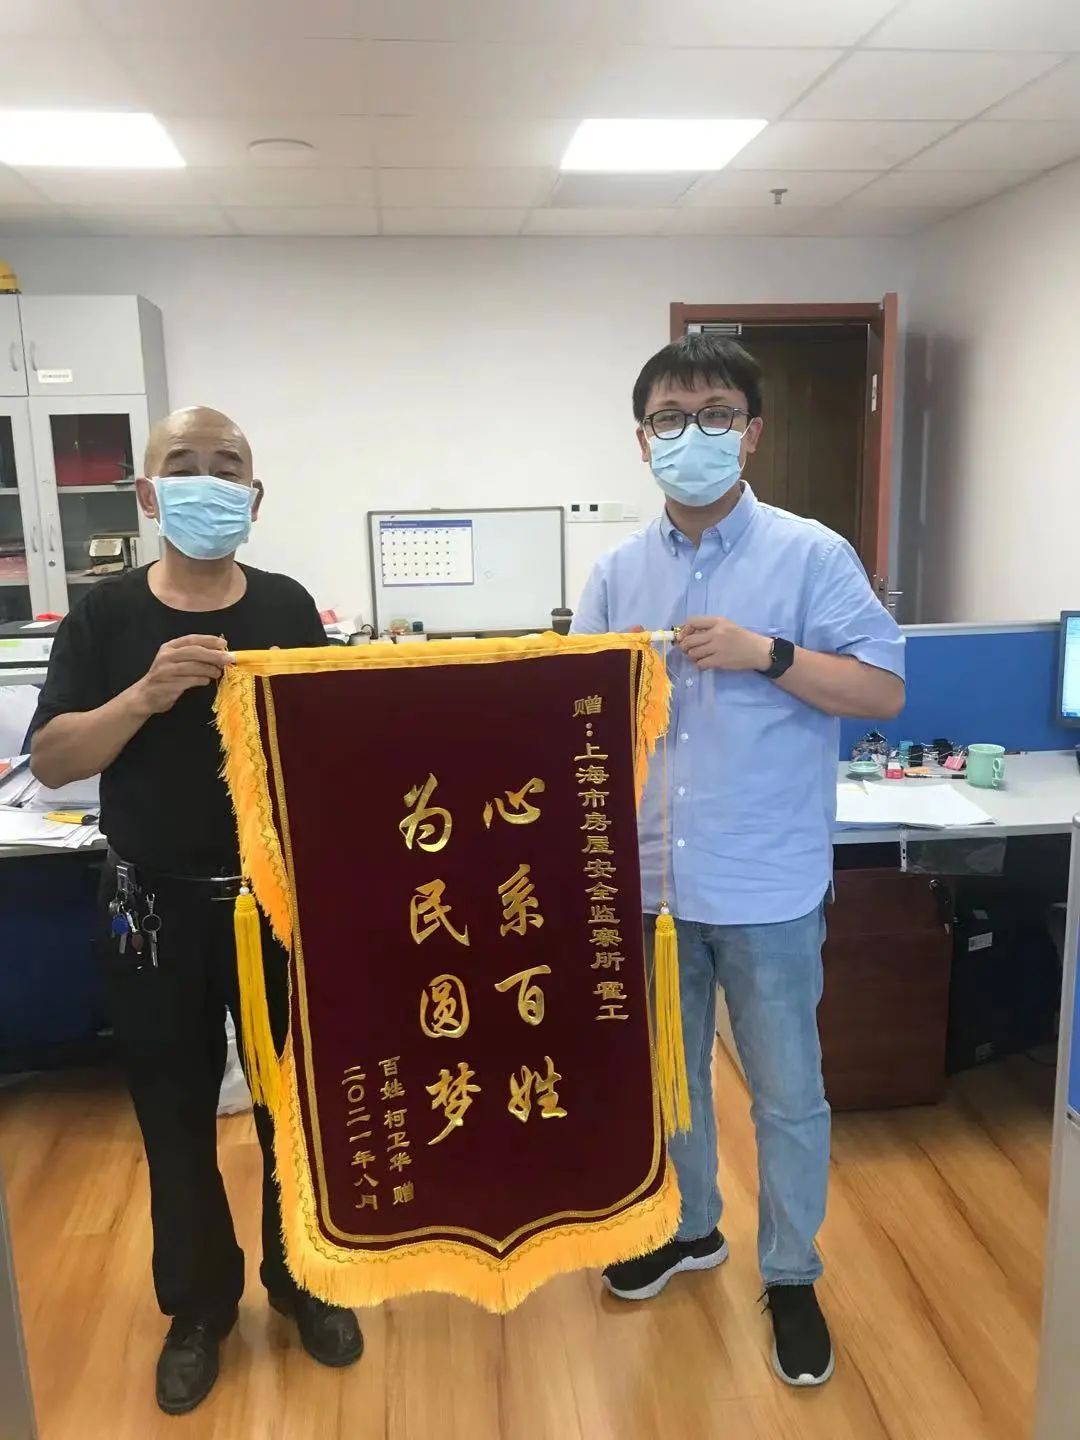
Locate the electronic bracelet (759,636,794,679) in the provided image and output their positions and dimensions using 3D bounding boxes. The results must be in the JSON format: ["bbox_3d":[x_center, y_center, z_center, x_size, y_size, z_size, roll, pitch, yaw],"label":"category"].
[{"bbox_3d":[0.309,-0.080,1.459,0.038,0.050,0.058,9,15,20],"label":"electronic bracelet"}]

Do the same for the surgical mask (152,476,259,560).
[{"bbox_3d":[-0.416,-0.251,1.444,0.107,0.077,0.116,-2,6,-21],"label":"surgical mask"}]

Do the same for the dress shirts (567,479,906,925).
[{"bbox_3d":[0.269,-0.021,1.604,0.459,0.597,0.290,-1,13,8],"label":"dress shirts"}]

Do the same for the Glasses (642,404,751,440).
[{"bbox_3d":[0.211,-0.399,1.527,0.135,0.045,0.074,-1,12,6],"label":"Glasses"}]

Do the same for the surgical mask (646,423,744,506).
[{"bbox_3d":[0.204,-0.346,1.519,0.106,0.080,0.105,1,19,10],"label":"surgical mask"}]

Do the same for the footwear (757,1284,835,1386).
[{"bbox_3d":[0.377,0.891,1.637,0.070,0.038,0.130,-8,42,-5],"label":"footwear"}]

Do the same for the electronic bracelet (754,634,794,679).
[{"bbox_3d":[0.308,-0.082,1.459,0.039,0.057,0.052,17,-2,5],"label":"electronic bracelet"}]

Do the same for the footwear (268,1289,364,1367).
[{"bbox_3d":[-0.339,0.900,1.724,0.148,0.060,0.077,23,26,36],"label":"footwear"}]

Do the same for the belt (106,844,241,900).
[{"bbox_3d":[-0.483,0.200,1.497,0.112,0.039,0.076,2,4,-9],"label":"belt"}]
